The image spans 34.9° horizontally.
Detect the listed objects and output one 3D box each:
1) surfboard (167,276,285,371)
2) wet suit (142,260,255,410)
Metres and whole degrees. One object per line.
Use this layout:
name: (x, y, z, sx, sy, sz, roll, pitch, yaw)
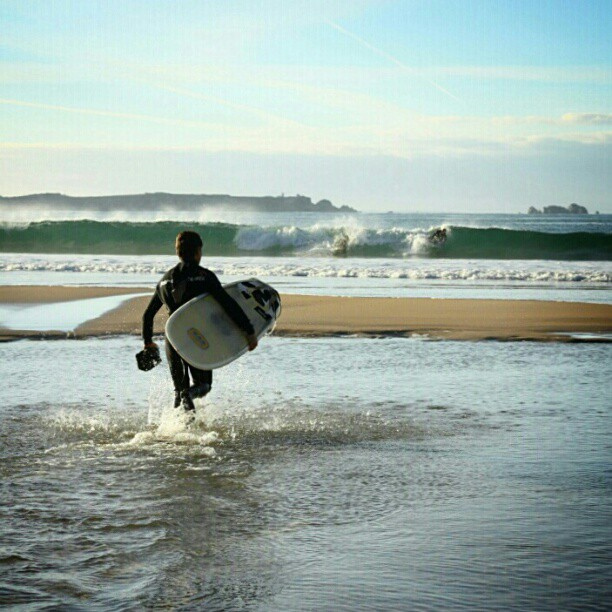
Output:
surfboard: (-0.632, 0.127, 7.658, 0.205, 0.568, 1.431, -38, -1, 33)
wet suit: (-0.841, 0.218, 7.377, 0.886, 1.118, 0.505, 1, 9, 7)
